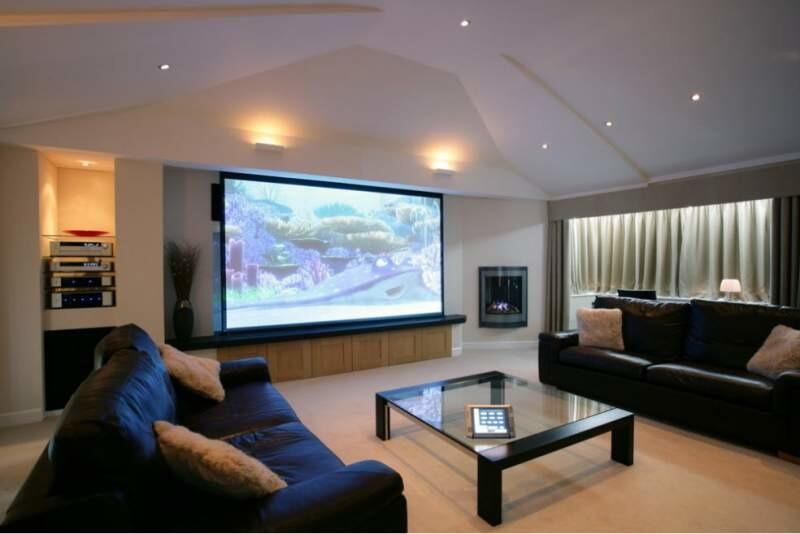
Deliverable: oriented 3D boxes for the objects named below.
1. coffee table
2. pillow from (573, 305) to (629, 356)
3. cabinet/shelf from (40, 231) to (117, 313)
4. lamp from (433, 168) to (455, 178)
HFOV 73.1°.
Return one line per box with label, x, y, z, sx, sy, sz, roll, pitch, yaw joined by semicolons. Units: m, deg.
coffee table;1.084;1.422;4.891;1.326;0.379;1.432;0;1;-33
pillow;2.300;0.736;6.536;0.763;0.736;0.408;0;-23;10
cabinet/shelf;-3.526;0.075;5.851;0.903;1.015;0.516;1;-3;-32
lamp;0.632;-1.320;7.591;0.322;0.115;0.118;-5;3;-35
